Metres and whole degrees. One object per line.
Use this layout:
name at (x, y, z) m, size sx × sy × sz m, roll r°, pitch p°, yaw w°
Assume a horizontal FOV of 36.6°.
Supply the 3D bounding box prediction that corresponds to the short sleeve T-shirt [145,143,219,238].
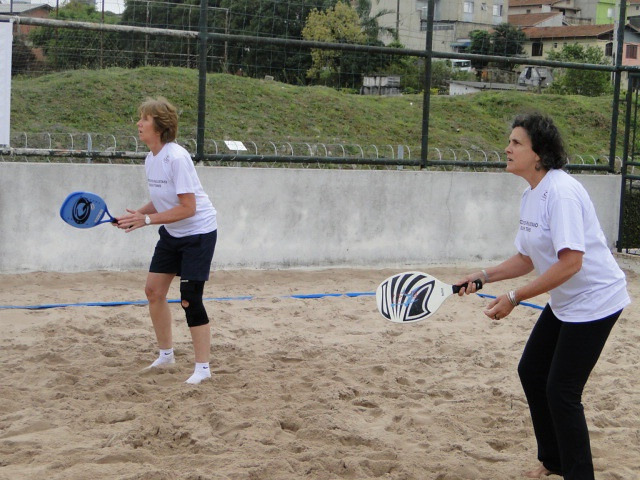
short sleeve T-shirt at (-1.445, -0.488, 9.948) m, size 0.531 × 0.990 × 0.866 m, roll -18°, pitch -2°, yaw -40°

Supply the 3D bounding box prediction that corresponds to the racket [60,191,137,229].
racket at (-2.283, -0.268, 9.930) m, size 0.107 × 0.394 × 0.744 m, roll 35°, pitch 7°, yaw 41°

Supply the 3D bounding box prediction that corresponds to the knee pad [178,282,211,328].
knee pad at (-1.228, 0.621, 9.415) m, size 0.257 × 0.485 × 0.121 m, roll 0°, pitch 8°, yaw -9°
